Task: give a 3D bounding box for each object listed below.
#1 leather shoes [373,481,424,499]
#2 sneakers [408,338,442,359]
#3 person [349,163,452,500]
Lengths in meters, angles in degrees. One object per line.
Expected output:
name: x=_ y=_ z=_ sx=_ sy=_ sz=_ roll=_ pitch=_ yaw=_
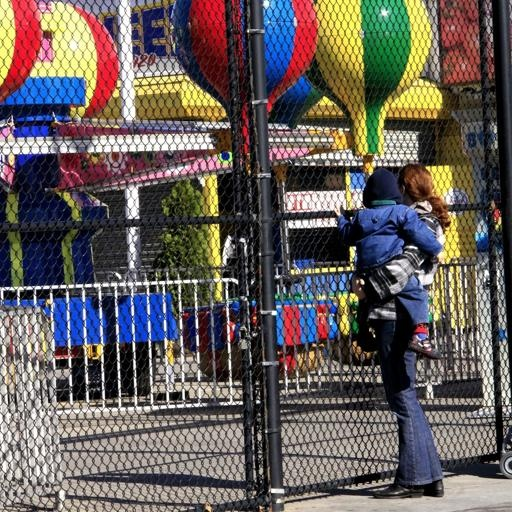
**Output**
leather shoes: x=1.016 y=1.660 z=9.167 sx=0.326 sy=0.209 sz=0.142 roll=4 pitch=-8 yaw=-4
sneakers: x=1.182 y=0.654 z=9.053 sx=0.170 sy=0.182 sz=0.292 roll=-7 pitch=-4 yaw=27
person: x=1.053 y=0.535 z=9.155 sx=0.735 sy=2.394 sz=0.473 roll=-3 pitch=-3 yaw=-12
